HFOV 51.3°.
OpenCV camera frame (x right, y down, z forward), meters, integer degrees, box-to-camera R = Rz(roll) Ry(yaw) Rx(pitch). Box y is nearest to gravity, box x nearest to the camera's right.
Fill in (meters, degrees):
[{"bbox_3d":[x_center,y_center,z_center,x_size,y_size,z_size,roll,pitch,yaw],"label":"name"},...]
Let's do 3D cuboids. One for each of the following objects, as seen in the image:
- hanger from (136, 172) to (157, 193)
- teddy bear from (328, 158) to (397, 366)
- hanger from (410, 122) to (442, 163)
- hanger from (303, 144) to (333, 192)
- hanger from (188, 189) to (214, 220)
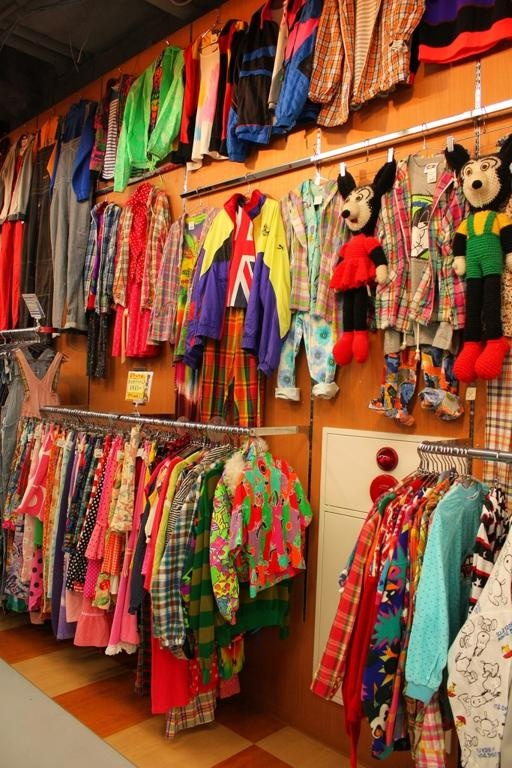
[{"bbox_3d":[-0.635,-1.153,3.076,0.117,0.147,0.043,10,-15,6],"label":"hanger"},{"bbox_3d":[0.354,-0.414,1.847,0.189,0.712,0.298,4,-8,2],"label":"teddy bear"},{"bbox_3d":[0.565,-0.781,1.770,0.044,0.111,0.110,9,-10,-33],"label":"hanger"},{"bbox_3d":[0.250,-0.881,2.132,0.059,0.235,0.138,9,-10,-35],"label":"hanger"},{"bbox_3d":[-0.274,-0.907,2.701,0.021,0.175,0.209,1,3,-43],"label":"hanger"}]
